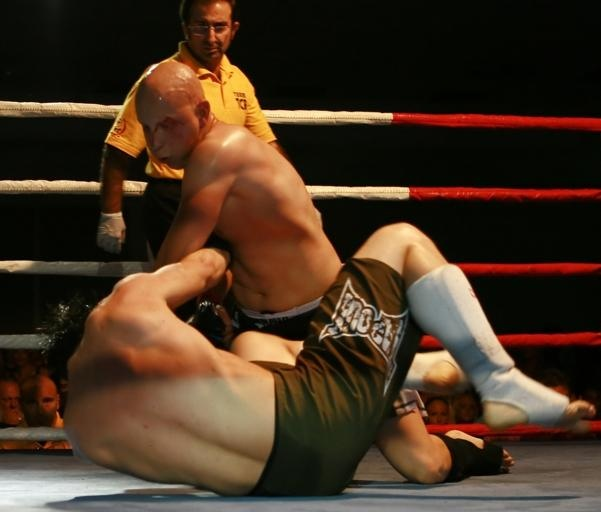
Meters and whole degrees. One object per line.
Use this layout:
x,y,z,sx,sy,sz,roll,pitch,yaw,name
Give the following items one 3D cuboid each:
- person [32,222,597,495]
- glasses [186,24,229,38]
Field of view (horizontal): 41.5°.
0.073,0.303,2.253,1.335,0.768,0.448,2,69,-29,person
-0.379,-0.925,3.271,0.154,0.027,0.093,0,-4,-15,glasses
